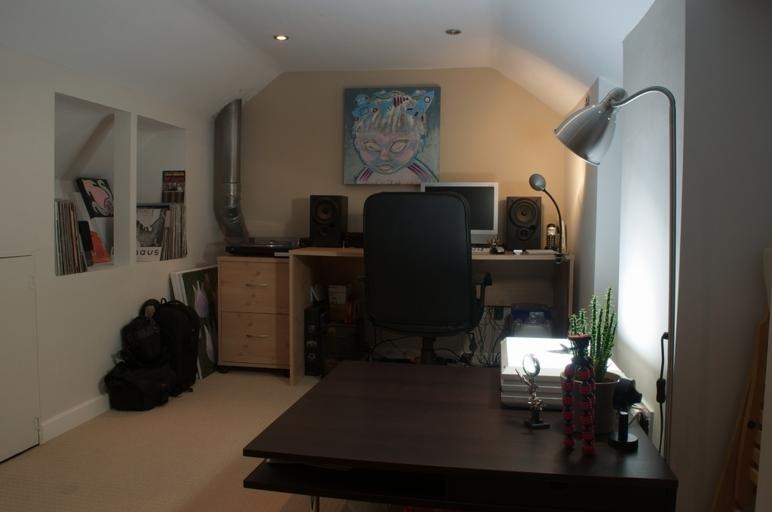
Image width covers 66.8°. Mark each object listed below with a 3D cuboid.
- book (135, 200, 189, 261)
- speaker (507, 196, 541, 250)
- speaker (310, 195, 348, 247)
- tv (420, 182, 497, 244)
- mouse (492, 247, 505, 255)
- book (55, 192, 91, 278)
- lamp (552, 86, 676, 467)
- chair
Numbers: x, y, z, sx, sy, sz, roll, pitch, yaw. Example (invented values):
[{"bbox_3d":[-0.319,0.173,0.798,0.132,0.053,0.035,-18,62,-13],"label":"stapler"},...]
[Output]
[{"bbox_3d":[-1.784,-0.188,4.624,0.416,0.435,0.240,-2,-10,-1],"label":"book"},{"bbox_3d":[1.112,-0.280,4.697,0.287,0.434,0.264,-1,17,6],"label":"speaker"},{"bbox_3d":[-0.468,-0.296,4.762,0.329,0.400,0.328,1,6,-9],"label":"speaker"},{"bbox_3d":[0.515,-0.287,3.985,0.458,0.408,0.150,0,1,8],"label":"tv"},{"bbox_3d":[0.849,-0.038,4.459,0.051,0.041,0.094,-1,-9,17],"label":"mouse"},{"bbox_3d":[-2.167,-0.119,4.031,0.199,0.539,0.696,-5,15,-25],"label":"book"},{"bbox_3d":[1.229,0.059,2.935,0.578,1.869,0.349,-7,27,13],"label":"lamp"},{"bbox_3d":[0.279,0.243,3.927,0.847,1.387,0.799,1,7,17],"label":"chair"}]
